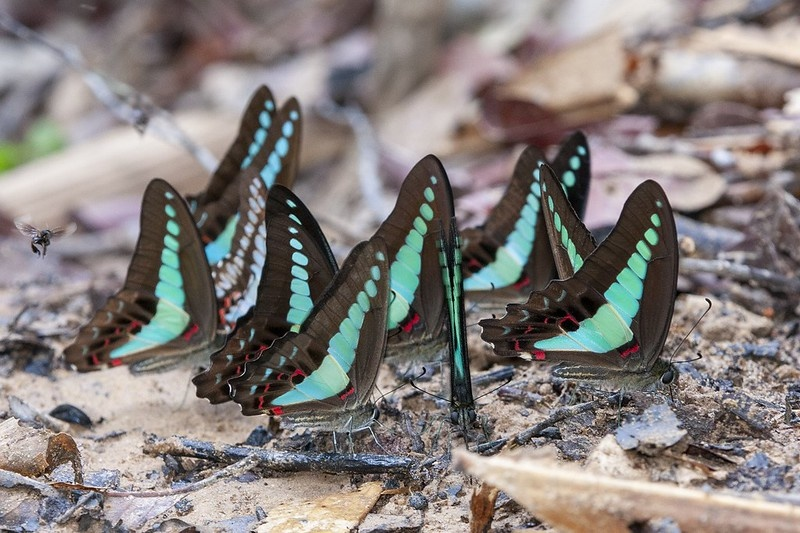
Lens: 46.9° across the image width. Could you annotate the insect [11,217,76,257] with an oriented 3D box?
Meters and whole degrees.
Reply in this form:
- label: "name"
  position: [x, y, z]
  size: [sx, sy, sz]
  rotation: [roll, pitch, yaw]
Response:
- label: "insect"
  position: [-2.660, -0.227, 6.860]
  size: [0.266, 0.402, 0.186]
  rotation: [-23, 69, 59]
